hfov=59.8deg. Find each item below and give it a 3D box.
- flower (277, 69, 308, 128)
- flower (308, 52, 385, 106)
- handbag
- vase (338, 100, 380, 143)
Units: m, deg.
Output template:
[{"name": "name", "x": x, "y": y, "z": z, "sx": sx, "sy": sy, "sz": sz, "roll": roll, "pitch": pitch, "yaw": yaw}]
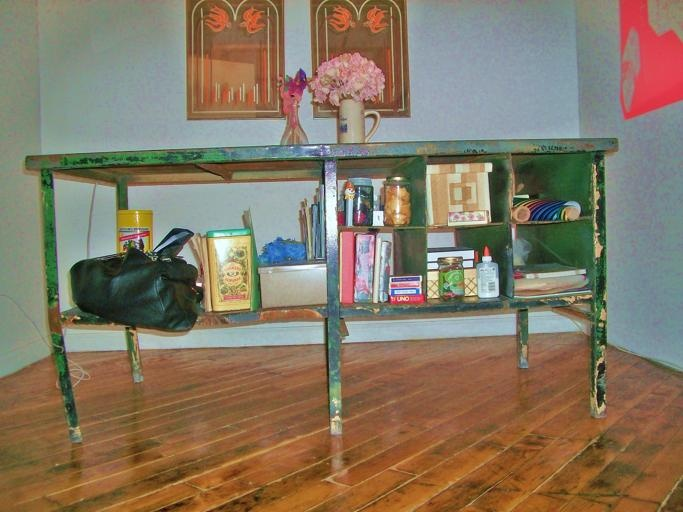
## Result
[{"name": "flower", "x": -0.264, "y": -0.897, "z": 3.346, "sx": 0.157, "sy": 0.343, "sz": 0.299, "roll": -4, "pitch": 12, "yaw": -5}, {"name": "flower", "x": 0.045, "y": -0.871, "z": 3.080, "sx": 0.360, "sy": 0.265, "sz": 0.339, "roll": 3, "pitch": 9, "yaw": 32}, {"name": "handbag", "x": -0.954, "y": 0.080, "z": 2.762, "sx": 0.651, "sy": 0.400, "sz": 0.391, "roll": 7, "pitch": 12, "yaw": 28}, {"name": "vase", "x": 0.075, "y": -0.661, "z": 3.030, "sx": 0.267, "sy": 0.223, "sz": 0.157, "roll": -2, "pitch": 2, "yaw": -21}]
